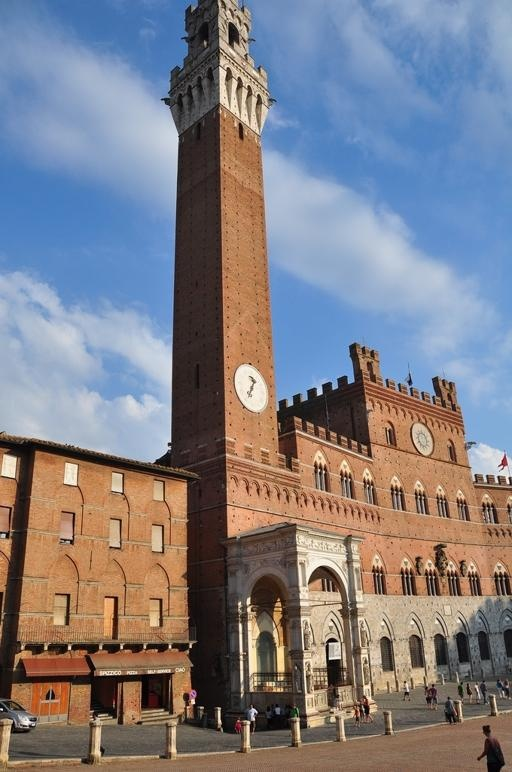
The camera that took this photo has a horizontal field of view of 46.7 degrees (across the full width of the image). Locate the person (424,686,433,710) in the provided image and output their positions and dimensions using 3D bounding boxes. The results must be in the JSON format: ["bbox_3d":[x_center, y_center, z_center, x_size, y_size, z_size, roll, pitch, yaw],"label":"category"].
[{"bbox_3d":[7.401,13.157,24.893,0.244,0.805,1.385,-6,-23,14],"label":"person"}]
